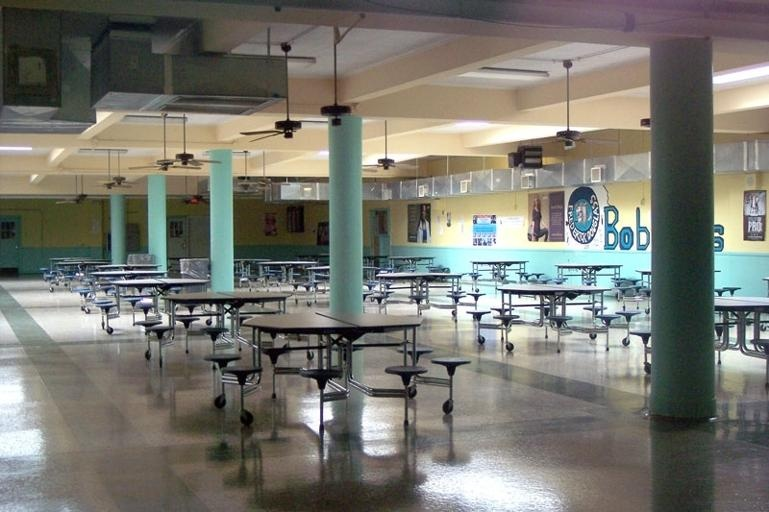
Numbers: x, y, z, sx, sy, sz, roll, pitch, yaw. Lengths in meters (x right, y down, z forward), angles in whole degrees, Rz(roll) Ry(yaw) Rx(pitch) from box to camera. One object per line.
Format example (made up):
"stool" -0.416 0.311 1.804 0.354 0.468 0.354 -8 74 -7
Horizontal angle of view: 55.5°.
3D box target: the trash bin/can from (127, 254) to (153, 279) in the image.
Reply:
"trash bin/can" -6.341 0.267 19.025 0.688 0.566 0.672 0 1 -34
